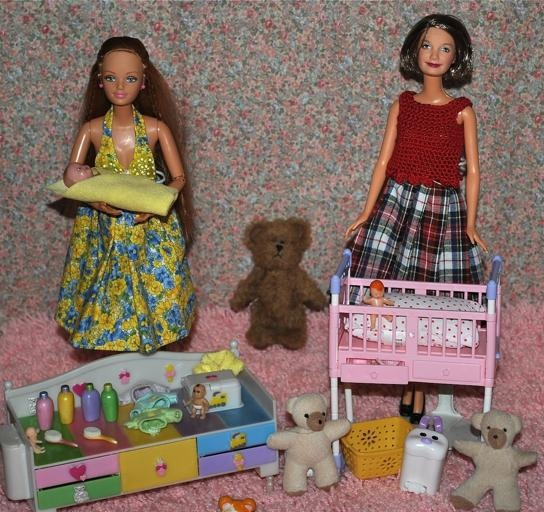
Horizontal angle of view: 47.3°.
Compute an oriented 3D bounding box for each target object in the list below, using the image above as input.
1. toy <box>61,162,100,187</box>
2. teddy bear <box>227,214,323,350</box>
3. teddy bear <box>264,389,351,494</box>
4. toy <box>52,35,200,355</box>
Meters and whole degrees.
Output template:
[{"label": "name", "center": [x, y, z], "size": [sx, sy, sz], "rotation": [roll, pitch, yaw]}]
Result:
[{"label": "toy", "center": [-0.850, -0.355, 2.716], "size": [0.160, 0.109, 0.117], "rotation": [-7, -32, -11]}, {"label": "teddy bear", "center": [0.034, 0.169, 3.530], "size": [0.563, 0.785, 0.227], "rotation": [3, 6, 3]}, {"label": "teddy bear", "center": [0.163, 0.865, 2.836], "size": [0.462, 0.432, 0.229], "rotation": [-3, 10, -18]}, {"label": "toy", "center": [-0.661, -0.247, 2.901], "size": [0.654, 1.504, 0.380], "rotation": [0, 7, -19]}]
